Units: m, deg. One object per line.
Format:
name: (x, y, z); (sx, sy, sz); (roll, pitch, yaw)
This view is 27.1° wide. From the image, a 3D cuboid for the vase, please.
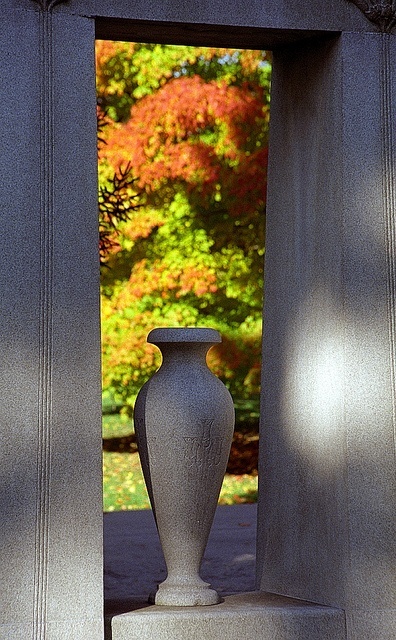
vase: (-0.032, 0.490, 2.807); (0.339, 0.927, 0.279); (-5, -17, -5)
